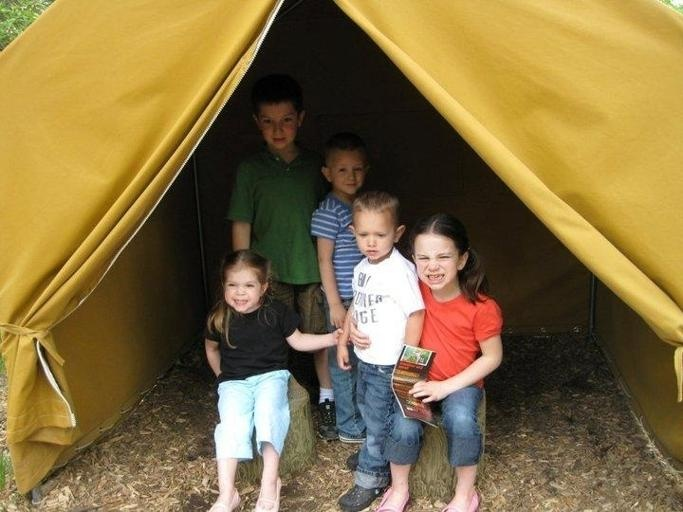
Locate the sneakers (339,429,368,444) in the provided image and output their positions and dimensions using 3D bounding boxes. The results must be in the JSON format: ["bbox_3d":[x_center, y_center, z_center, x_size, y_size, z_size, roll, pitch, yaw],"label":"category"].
[{"bbox_3d":[0.072,1.146,3.952,0.161,0.070,0.061,0,13,-1],"label":"sneakers"}]

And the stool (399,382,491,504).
[{"bbox_3d":[0.533,1.092,3.603,0.483,0.540,0.573,1,-6,-1],"label":"stool"}]

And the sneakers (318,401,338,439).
[{"bbox_3d":[-0.087,1.070,4.052,0.089,0.112,0.256,-1,10,-6],"label":"sneakers"}]
